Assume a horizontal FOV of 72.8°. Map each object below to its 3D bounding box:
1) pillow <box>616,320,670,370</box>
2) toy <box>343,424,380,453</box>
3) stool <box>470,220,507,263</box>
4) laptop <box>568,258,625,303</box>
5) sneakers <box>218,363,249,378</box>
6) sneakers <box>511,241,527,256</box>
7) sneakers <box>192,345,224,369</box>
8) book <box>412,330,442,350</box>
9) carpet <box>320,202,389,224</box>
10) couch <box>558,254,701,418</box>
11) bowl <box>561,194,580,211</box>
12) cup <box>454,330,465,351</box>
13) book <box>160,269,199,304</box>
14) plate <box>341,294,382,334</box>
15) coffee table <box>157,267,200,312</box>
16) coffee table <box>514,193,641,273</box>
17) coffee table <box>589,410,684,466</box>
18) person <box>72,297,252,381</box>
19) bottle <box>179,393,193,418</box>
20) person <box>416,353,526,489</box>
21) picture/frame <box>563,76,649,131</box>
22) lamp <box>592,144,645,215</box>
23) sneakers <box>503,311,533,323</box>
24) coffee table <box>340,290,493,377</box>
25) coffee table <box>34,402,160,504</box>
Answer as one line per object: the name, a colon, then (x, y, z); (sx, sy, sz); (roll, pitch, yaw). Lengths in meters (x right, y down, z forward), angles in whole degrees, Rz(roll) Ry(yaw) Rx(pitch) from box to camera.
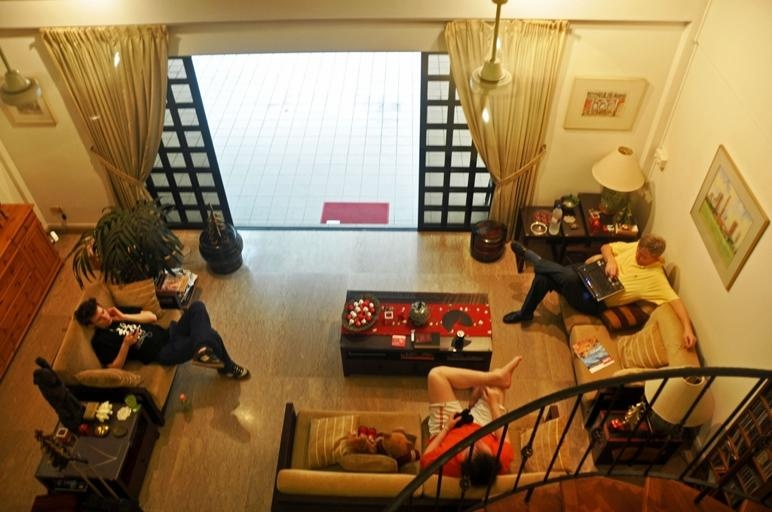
pillow: (3.013, 1.083, 6.128); (0.387, 0.456, 0.497); (-1, 36, 0)
toy: (-0.256, 1.932, 5.479); (0.281, 0.098, 0.256); (8, 49, 6)
stool: (1.467, -0.218, 7.872); (0.585, 0.597, 0.564); (13, 55, 13)
laptop: (2.700, 0.315, 6.572); (0.480, 0.122, 0.509); (-20, 55, -8)
sneakers: (-1.891, 1.477, 6.619); (0.425, 0.199, 0.182); (2, 59, -8)
sneakers: (1.839, -0.087, 7.190); (0.112, 0.131, 0.324); (3, 79, 30)
sneakers: (-2.090, 1.221, 6.164); (0.407, 0.255, 0.192); (1, 41, -9)
book: (0.496, 1.038, 6.394); (0.353, 0.100, 0.224); (3, 37, 5)
carpet: (-0.475, -0.705, 8.609); (0.794, 0.161, 0.451); (4, 54, 1)
couch: (2.964, 0.939, 6.300); (1.205, 1.174, 1.765); (1, 67, -2)
bowl: (2.640, -0.784, 7.490); (0.207, 0.143, 0.219); (-5, 52, 6)
cup: (0.898, 1.039, 6.327); (0.121, 0.243, 0.177); (5, 59, 9)
book: (-2.832, 0.429, 7.184); (0.433, 0.191, 0.455); (2, 49, -3)
plate: (-0.281, 0.726, 6.511); (0.412, 0.130, 0.427); (31, 61, 30)
coffee table: (-2.840, 0.440, 7.158); (0.478, 0.208, 0.501); (4, 47, -3)
coffee table: (2.762, -0.098, 8.018); (1.989, 1.264, 1.077); (-3, 69, 1)
coffee table: (2.717, 1.964, 5.632); (0.968, 0.669, 0.519); (-1, 47, 4)
person: (-2.718, 1.033, 6.350); (1.801, 1.119, 0.915); (0, 33, 0)
bottle: (-2.460, 1.868, 6.464); (0.113, 0.200, 0.110); (0, 55, 0)
person: (0.878, 1.748, 5.457); (0.774, 1.115, 1.771); (3, 3, 11)
picture/frame: (2.892, -2.030, 6.856); (0.685, 0.521, 0.098); (1, 45, 3)
lamp: (3.155, -0.999, 7.152); (0.692, 0.956, 0.609); (-2, 36, 0)
sneakers: (1.794, 0.856, 7.118); (0.393, 0.171, 0.170); (1, 64, 5)
coffee table: (0.384, 0.804, 6.610); (1.786, 0.834, 1.075); (0, 59, 2)
coffee table: (-3.135, 2.270, 5.896); (1.009, 0.789, 1.085); (5, 56, -2)
